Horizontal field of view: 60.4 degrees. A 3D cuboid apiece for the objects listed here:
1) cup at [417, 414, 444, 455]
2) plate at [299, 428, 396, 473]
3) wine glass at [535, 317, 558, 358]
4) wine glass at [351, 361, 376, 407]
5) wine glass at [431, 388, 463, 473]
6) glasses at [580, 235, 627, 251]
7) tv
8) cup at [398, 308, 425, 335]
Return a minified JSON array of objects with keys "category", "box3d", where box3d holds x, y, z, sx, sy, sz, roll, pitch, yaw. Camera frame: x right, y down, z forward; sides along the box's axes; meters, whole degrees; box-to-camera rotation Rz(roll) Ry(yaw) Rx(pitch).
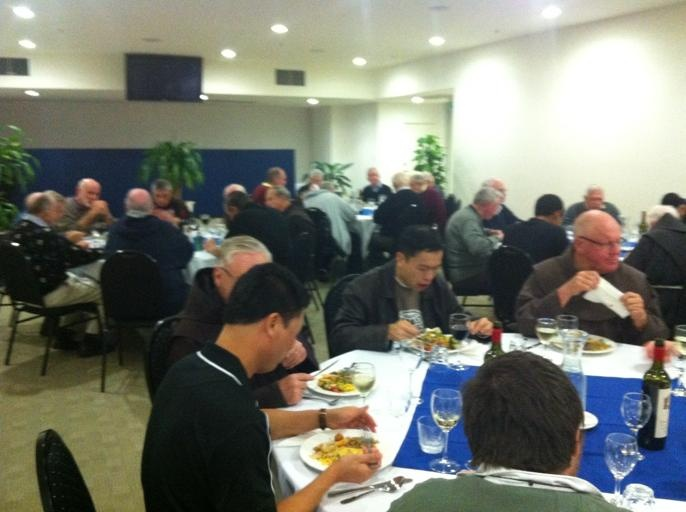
[{"category":"cup","box3d":[0.288,0.607,2.015,0.105,0.081,0.115,0,7,0]},{"category":"plate","box3d":[-0.007,0.631,1.975,0.276,0.107,0.207,2,8,0]},{"category":"wine glass","box3d":[0.874,0.331,2.562,0.080,0.113,0.103,7,9,25]},{"category":"wine glass","box3d":[0.068,0.470,2.216,0.086,0.183,0.203,3,8,2]},{"category":"wine glass","box3d":[0.341,0.550,1.963,0.108,0.247,0.253,4,8,10]},{"category":"glasses","box3d":[1.303,-0.070,3.010,0.219,0.054,0.098,3,8,2]},{"category":"tv","box3d":[-2.599,-2.648,8.747,1.438,0.649,0.843,-1,6,-26]},{"category":"cup","box3d":[0.324,0.298,2.703,0.110,0.094,0.102,-5,9,1]}]
